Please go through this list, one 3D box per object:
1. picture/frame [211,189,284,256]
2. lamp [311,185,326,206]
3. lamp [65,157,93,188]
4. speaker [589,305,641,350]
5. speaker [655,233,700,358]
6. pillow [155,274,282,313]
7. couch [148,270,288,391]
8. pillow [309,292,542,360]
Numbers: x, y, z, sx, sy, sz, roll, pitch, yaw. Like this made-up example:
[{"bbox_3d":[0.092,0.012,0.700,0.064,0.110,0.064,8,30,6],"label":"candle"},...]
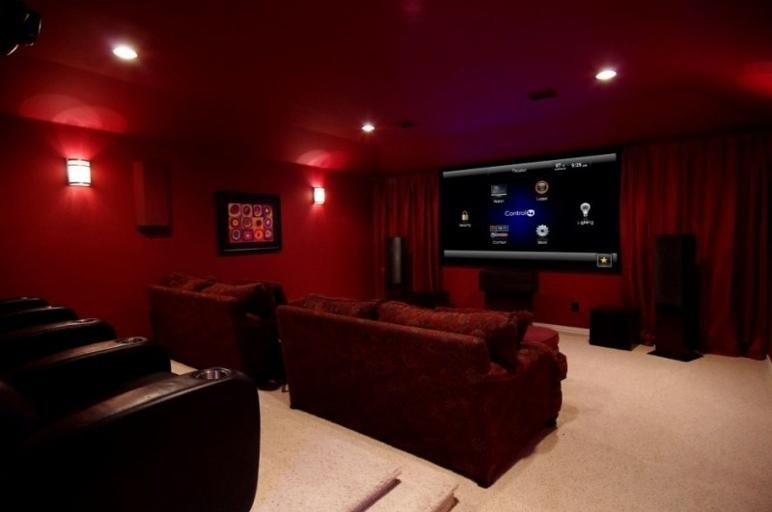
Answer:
[{"bbox_3d":[-1.857,-0.447,6.365,0.069,0.772,0.869,2,5,39],"label":"picture/frame"},{"bbox_3d":[-1.005,-0.918,7.268,0.056,0.244,0.238,2,5,39],"label":"lamp"},{"bbox_3d":[-3.144,-0.853,4.953,0.265,0.262,0.246,-9,5,-40],"label":"lamp"},{"bbox_3d":[2.783,0.968,6.103,0.496,0.475,0.382,6,-23,10],"label":"speaker"},{"bbox_3d":[3.460,0.456,5.652,0.571,1.443,0.305,-4,4,-18],"label":"speaker"},{"bbox_3d":[-1.577,0.335,4.892,0.725,0.229,0.649,3,-1,27],"label":"pillow"},{"bbox_3d":[-1.761,0.707,5.274,1.600,0.977,0.880,4,9,39],"label":"couch"},{"bbox_3d":[0.307,0.596,3.921,1.610,0.512,0.540,-2,3,24],"label":"pillow"}]
